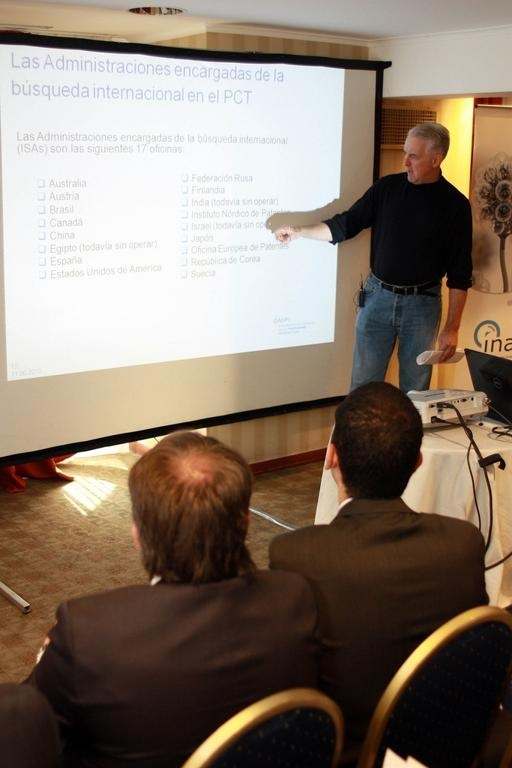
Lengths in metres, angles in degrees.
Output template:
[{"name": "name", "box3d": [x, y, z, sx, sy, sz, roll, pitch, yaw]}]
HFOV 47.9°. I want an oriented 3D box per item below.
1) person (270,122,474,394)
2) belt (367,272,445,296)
[{"name": "person", "box3d": [0.816, -0.686, 3.556, 0.788, 2.140, 0.827, 2, 5, 32]}, {"name": "belt", "box3d": [0.889, -0.609, 3.532, 0.455, 0.121, 0.185, 4, 12, 11]}]
